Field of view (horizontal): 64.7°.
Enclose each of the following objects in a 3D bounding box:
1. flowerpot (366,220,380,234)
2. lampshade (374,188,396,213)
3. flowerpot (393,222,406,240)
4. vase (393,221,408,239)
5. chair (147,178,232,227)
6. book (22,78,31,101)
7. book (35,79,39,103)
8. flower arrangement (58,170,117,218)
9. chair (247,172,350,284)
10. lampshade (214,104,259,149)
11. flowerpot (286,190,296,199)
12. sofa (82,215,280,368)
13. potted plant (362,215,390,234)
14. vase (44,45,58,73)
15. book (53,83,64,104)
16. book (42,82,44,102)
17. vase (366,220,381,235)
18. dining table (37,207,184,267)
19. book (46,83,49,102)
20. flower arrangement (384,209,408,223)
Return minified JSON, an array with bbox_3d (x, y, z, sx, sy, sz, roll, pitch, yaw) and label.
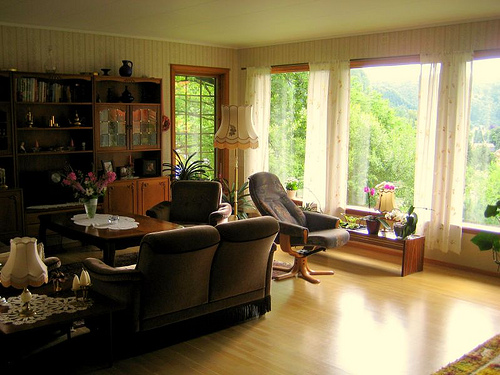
[{"bbox_3d":[1.645,0.519,5.276,0.162,0.180,0.163,0,-2,-1],"label":"flowerpot"},{"bbox_3d":[1.810,0.164,5.285,0.281,0.302,0.277,-3,6,-25],"label":"lampshade"},{"bbox_3d":[1.895,0.564,5.066,0.175,0.199,0.177,0,-2,-7],"label":"flowerpot"},{"bbox_3d":[1.927,0.545,5.061,0.192,0.216,0.191,0,-2,-15],"label":"vase"},{"bbox_3d":[-0.754,0.224,5.378,0.829,0.915,0.685,1,-4,7],"label":"chair"},{"bbox_3d":[-3.027,-1.322,5.335,0.103,0.290,0.032,-5,11,-40],"label":"book"},{"bbox_3d":[-2.937,-1.333,5.437,0.047,0.325,0.115,-1,9,-20],"label":"book"},{"bbox_3d":[-1.917,0.119,4.813,0.565,0.605,0.553,-2,-3,18],"label":"flower arrangement"},{"bbox_3d":[0.626,0.479,5.082,1.187,1.283,1.067,2,4,39],"label":"chair"},{"bbox_3d":[-0.192,-0.819,5.216,0.571,0.523,0.538,-1,2,-11],"label":"lampshade"},{"bbox_3d":[0.713,0.121,6.714,0.124,0.104,0.134,0,2,-5],"label":"flowerpot"},{"bbox_3d":[-0.471,0.777,3.330,1.464,1.035,0.502,-3,10,-34],"label":"sofa"},{"bbox_3d":[1.710,0.489,5.304,0.228,0.128,0.225,0,-1,42],"label":"potted plant"},{"bbox_3d":[-2.830,-1.822,5.601,0.164,0.416,0.304,-2,10,-24],"label":"vase"},{"bbox_3d":[-2.720,-1.329,5.608,0.037,0.275,0.154,9,11,37],"label":"book"},{"bbox_3d":[-2.873,-1.331,5.475,0.013,0.259,0.032,8,10,32],"label":"book"},{"bbox_3d":[1.643,0.523,5.278,0.174,0.197,0.177,1,-3,-2],"label":"vase"},{"bbox_3d":[-1.579,0.533,4.567,0.579,0.268,0.979,2,13,-46],"label":"dining table"},{"bbox_3d":[-2.838,-1.338,5.529,0.022,0.236,0.035,4,9,8],"label":"book"},{"bbox_3d":[1.919,0.366,5.169,0.277,0.148,0.131,5,9,18],"label":"flower arrangement"}]
